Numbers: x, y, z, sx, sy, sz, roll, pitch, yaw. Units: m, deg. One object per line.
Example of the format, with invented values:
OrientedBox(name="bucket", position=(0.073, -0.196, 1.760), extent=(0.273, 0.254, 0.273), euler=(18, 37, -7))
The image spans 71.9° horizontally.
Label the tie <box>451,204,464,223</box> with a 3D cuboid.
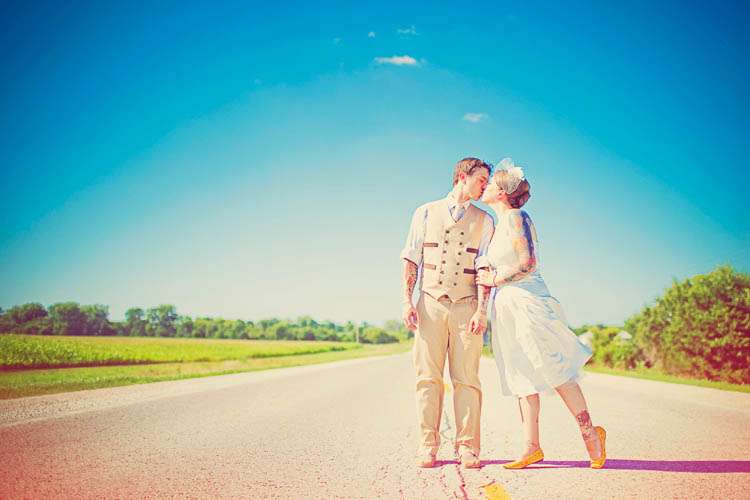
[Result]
OrientedBox(name="tie", position=(1.246, -0.543, 7.726), extent=(0.178, 0.276, 0.063), euler=(10, 1, -5))
